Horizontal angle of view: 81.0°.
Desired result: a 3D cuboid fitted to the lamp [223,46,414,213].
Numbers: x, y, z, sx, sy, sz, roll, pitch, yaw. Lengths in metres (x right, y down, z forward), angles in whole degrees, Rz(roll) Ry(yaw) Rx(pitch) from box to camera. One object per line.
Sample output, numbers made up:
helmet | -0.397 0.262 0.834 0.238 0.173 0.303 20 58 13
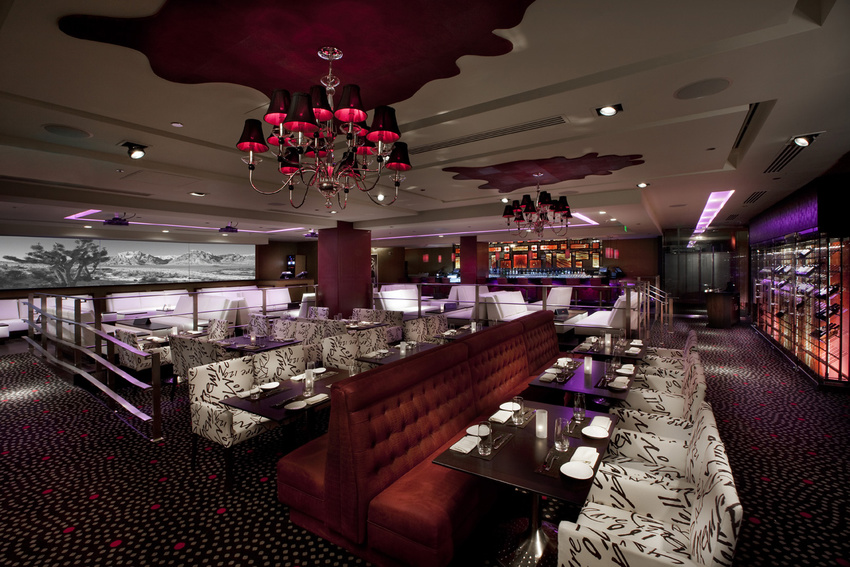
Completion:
lamp | -1.028 -1.735 5.631 1.966 1.725 1.887 3 -2 -38

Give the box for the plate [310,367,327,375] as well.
plate | -1.335 1.050 6.121 0.148 0.035 0.141 2 3 3

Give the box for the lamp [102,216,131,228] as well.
lamp | -7.040 -1.410 11.238 0.434 0.132 0.419 2 3 16

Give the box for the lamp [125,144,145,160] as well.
lamp | -3.905 -1.766 6.641 0.225 0.075 0.208 -10 -10 11

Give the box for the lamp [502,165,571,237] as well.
lamp | 2.202 -1.478 9.695 1.294 0.974 1.144 -2 -10 9

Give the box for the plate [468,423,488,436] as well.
plate | 0.498 1.375 4.714 0.161 0.033 0.159 2 5 30

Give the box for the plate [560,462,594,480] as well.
plate | 1.319 1.610 4.338 0.277 0.102 0.173 -3 1 13
